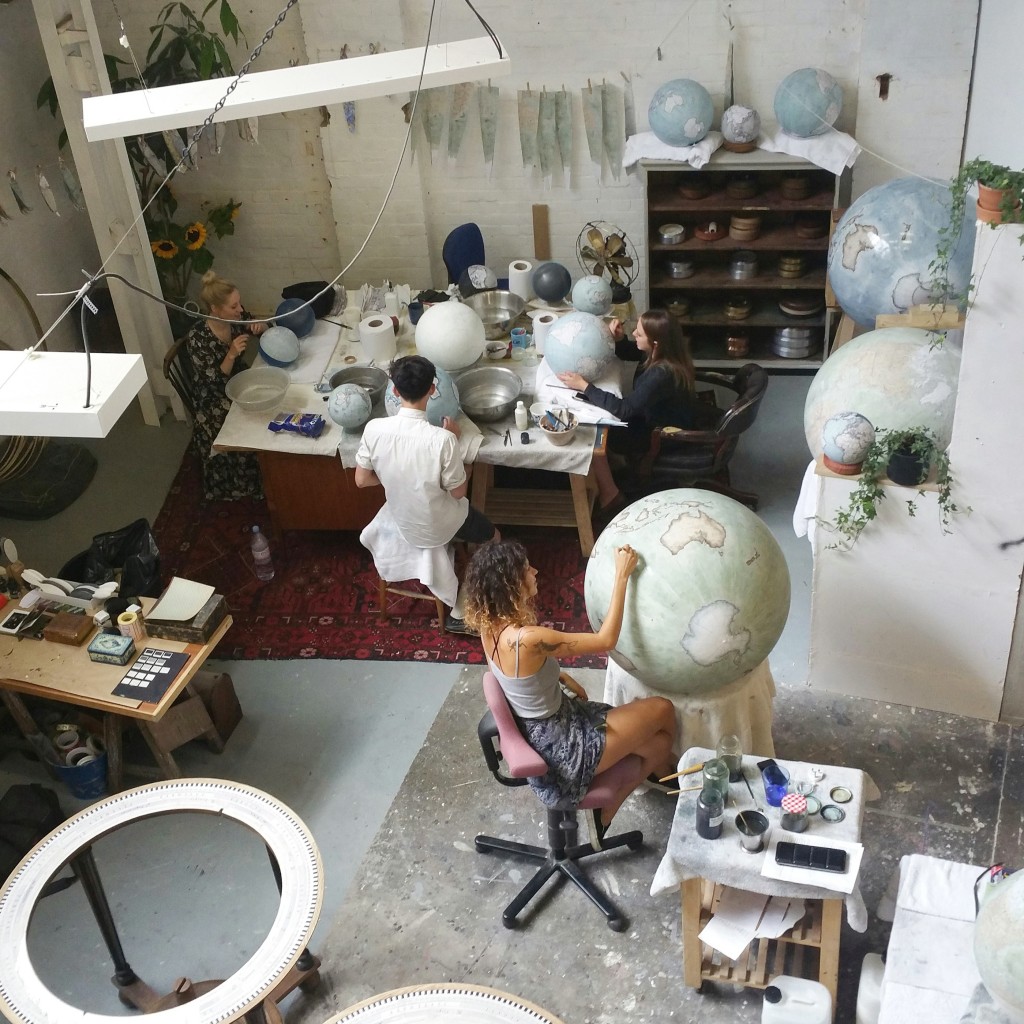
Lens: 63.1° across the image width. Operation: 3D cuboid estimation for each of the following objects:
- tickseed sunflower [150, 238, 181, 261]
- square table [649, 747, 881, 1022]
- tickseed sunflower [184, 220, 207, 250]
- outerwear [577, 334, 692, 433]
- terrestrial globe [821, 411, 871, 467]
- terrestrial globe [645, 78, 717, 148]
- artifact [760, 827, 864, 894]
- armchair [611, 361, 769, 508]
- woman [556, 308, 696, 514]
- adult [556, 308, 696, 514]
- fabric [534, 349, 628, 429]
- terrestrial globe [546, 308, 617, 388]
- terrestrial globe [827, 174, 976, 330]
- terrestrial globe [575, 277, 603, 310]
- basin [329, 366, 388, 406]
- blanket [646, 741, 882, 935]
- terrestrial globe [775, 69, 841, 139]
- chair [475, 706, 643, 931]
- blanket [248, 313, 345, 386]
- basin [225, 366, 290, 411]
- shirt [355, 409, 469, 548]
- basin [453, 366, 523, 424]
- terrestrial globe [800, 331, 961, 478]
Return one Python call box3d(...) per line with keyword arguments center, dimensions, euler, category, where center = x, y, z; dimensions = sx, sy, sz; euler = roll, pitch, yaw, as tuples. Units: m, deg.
box3d(center=(-2.572, -1.924, 6.122), dimensions=(0.218, 0.133, 0.153), euler=(5, 34, 15), category="tickseed sunflower")
box3d(center=(0.774, 1.148, 2.906), dimensions=(0.821, 0.726, 0.808), euler=(7, 44, 12), category="square table")
box3d(center=(-2.328, -2.032, 6.098), dimensions=(0.190, 0.184, 0.067), euler=(-4, 1, 2), category="tickseed sunflower")
box3d(center=(0.747, -0.627, 4.738), dimensions=(0.588, 0.378, 0.760), euler=(13, -1, 8), category="outerwear")
box3d(center=(1.322, -0.282, 3.367), dimensions=(0.210, 0.197, 0.193), euler=(10, 56, 0), category="terrestrial globe")
box3d(center=(1.126, -2.637, 5.535), dimensions=(0.398, 0.400, 0.231), euler=(1, 34, 8), category="terrestrial globe")
box3d(center=(0.895, 1.033, 2.464), dimensions=(0.258, 0.056, 0.142), euler=(7, 43, 16), category="artifact")
box3d(center=(0.953, -0.575, 5.087), dimensions=(1.017, 0.870, 0.735), euler=(9, 59, 14), category="armchair")
box3d(center=(0.762, -0.546, 5.005), dimensions=(0.772, 1.290, 0.605), euler=(8, 33, 18), category="woman")
box3d(center=(0.740, -0.561, 5.002), dimensions=(0.777, 1.247, 0.593), euler=(9, 33, 16), category="adult")
box3d(center=(0.355, -0.663, 4.649), dimensions=(0.440, 0.128, 0.355), euler=(7, 37, 6), category="fabric")
box3d(center=(0.414, -0.941, 4.760), dimensions=(0.389, 0.392, 0.376), euler=(25, 73, 16), category="terrestrial globe")
box3d(center=(1.723, -1.132, 3.782), dimensions=(0.351, 0.670, 0.587), euler=(-25, 38, -27), category="terrestrial globe")
box3d(center=(0.505, -1.333, 5.142), dimensions=(0.202, 0.218, 0.195), euler=(2, 41, 7), category="terrestrial globe")
box3d(center=(-0.879, -0.784, 4.886), dimensions=(0.296, 0.093, 0.284), euler=(0, 41, 0), category="basin")
box3d(center=(0.857, 1.082, 2.859), dimensions=(0.686, 0.157, 0.608), euler=(6, 51, 16), category="blanket")
box3d(center=(1.929, -2.650, 5.417), dimensions=(0.405, 0.402, 0.246), euler=(4, 35, 13), category="terrestrial globe")
box3d(center=(0.193, 1.180, 3.145), dimensions=(0.553, 0.574, 0.576), euler=(-23, 51, -12), category="chair")
box3d(center=(-1.326, -0.991, 5.187), dimensions=(0.487, 0.070, 0.481), euler=(17, 44, 1), category="blanket")
box3d(center=(-1.519, -0.700, 4.885), dimensions=(0.329, 0.123, 0.306), euler=(-1, 49, 1), category="basin")
box3d(center=(-0.464, -0.166, 3.977), dimensions=(0.533, 0.729, 0.423), euler=(11, 46, 15), category="shirt")
box3d(center=(-0.157, -0.668, 4.645), dimensions=(0.370, 0.141, 0.361), euler=(-1, 42, 1), category="basin")
box3d(center=(1.558, -0.485, 3.536), dimensions=(0.564, 0.569, 0.456), euler=(8, 35, 19), category="terrestrial globe")
